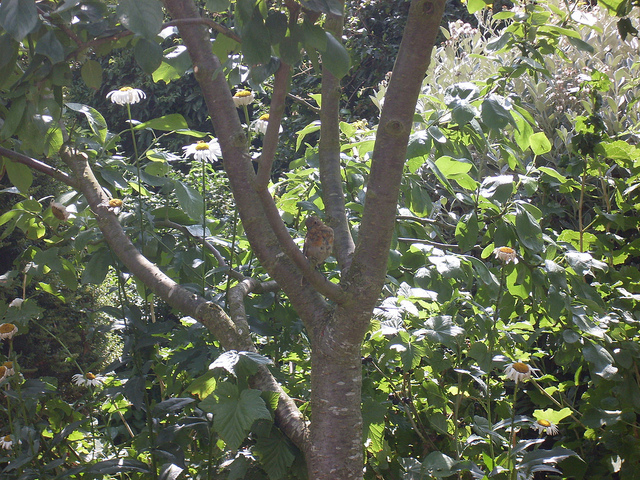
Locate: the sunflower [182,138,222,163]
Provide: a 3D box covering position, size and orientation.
[{"bbox_3d":[-0.536,-0.418,3.800,0.136,0.054,0.140,14,24,39],"label":"sunflower"}]

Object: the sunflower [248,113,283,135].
[{"bbox_3d":[-0.267,-0.552,3.866,0.159,0.089,0.174,-1,7,19],"label":"sunflower"}]

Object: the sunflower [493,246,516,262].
[{"bbox_3d":[0.811,0.056,3.539,0.061,0.025,0.067,6,22,1],"label":"sunflower"}]

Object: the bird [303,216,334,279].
[{"bbox_3d":[-0.015,0.004,3.616,0.116,0.275,0.188,-10,4,-23],"label":"bird"}]
